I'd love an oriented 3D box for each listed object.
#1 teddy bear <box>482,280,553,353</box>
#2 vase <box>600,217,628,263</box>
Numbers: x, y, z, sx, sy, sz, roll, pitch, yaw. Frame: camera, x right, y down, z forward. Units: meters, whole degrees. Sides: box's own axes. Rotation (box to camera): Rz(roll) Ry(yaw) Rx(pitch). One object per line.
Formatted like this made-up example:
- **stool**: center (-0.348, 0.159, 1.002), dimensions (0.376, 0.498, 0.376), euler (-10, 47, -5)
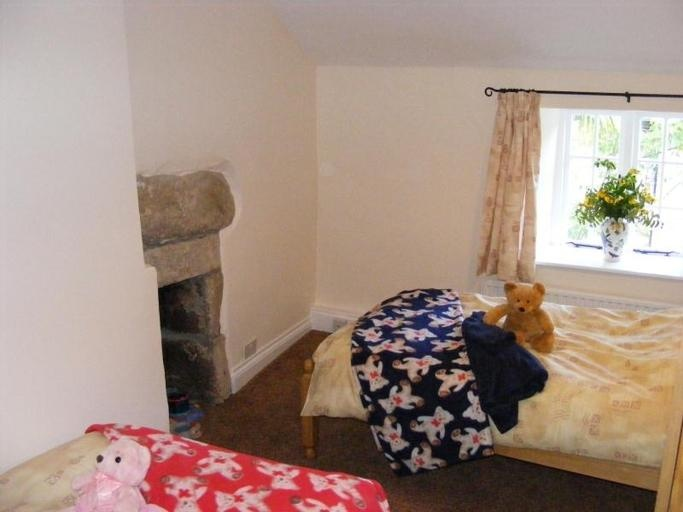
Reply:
- **teddy bear**: center (0.969, 0.333, 2.976), dimensions (0.345, 0.381, 0.223), euler (7, 23, 23)
- **vase**: center (2.072, -0.119, 4.215), dimensions (0.194, 0.342, 0.196), euler (9, 3, 19)
